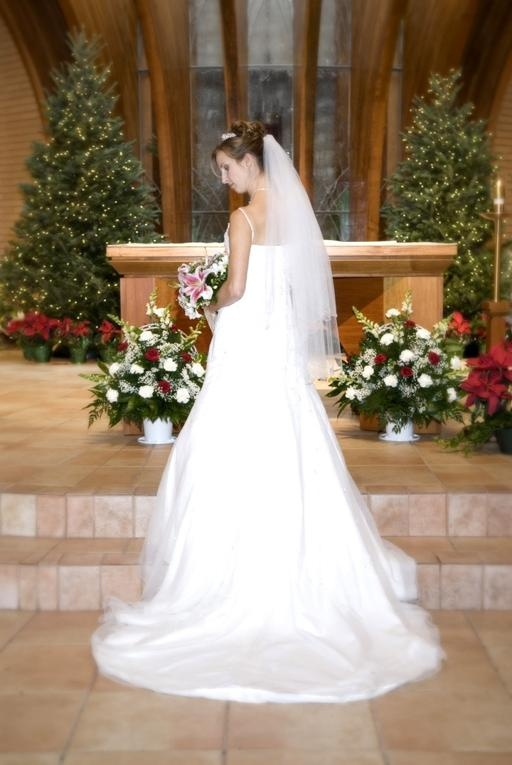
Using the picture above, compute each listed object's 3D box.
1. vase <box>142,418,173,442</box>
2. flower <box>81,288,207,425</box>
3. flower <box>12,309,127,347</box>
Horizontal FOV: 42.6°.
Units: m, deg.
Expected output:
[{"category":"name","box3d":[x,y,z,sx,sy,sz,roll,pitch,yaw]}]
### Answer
[{"category":"vase","box3d":[-0.559,0.268,3.728,0.152,0.107,0.139,-1,3,-14]},{"category":"flower","box3d":[-0.657,-0.140,3.722,0.762,0.855,0.733,-1,2,-30]},{"category":"flower","box3d":[-2.360,-0.701,8.323,1.206,0.492,0.761,1,-2,-8]}]
